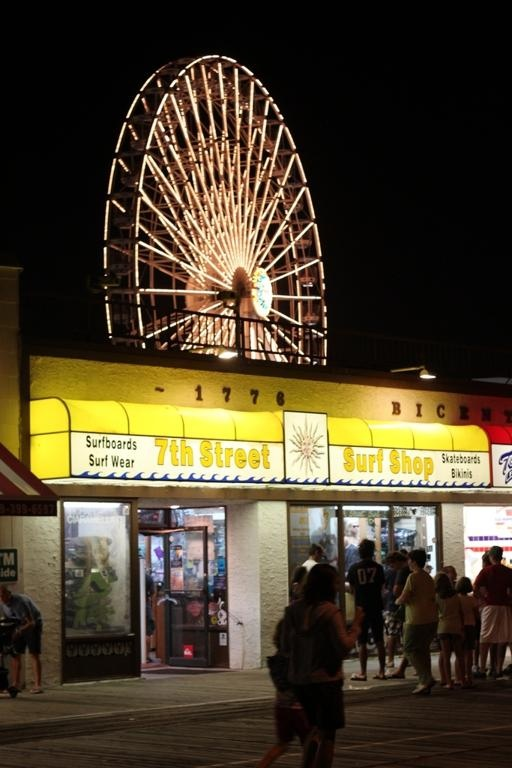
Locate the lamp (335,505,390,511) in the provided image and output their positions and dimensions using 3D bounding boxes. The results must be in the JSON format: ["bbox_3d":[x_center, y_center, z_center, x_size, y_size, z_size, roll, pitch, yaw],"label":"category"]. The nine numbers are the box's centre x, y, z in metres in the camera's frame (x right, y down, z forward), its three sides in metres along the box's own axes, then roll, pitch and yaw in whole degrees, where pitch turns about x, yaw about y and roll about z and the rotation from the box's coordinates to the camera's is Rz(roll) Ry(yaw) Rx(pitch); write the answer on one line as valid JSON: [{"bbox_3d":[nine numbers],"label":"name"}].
[{"bbox_3d":[1.896,2.139,16.308,1.082,0.130,0.082,9,-15,-40],"label":"lamp"}]

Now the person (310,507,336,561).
[{"bbox_3d":[1.020,2.509,15.811,0.495,0.896,0.532,4,-10,-39],"label":"person"}]
